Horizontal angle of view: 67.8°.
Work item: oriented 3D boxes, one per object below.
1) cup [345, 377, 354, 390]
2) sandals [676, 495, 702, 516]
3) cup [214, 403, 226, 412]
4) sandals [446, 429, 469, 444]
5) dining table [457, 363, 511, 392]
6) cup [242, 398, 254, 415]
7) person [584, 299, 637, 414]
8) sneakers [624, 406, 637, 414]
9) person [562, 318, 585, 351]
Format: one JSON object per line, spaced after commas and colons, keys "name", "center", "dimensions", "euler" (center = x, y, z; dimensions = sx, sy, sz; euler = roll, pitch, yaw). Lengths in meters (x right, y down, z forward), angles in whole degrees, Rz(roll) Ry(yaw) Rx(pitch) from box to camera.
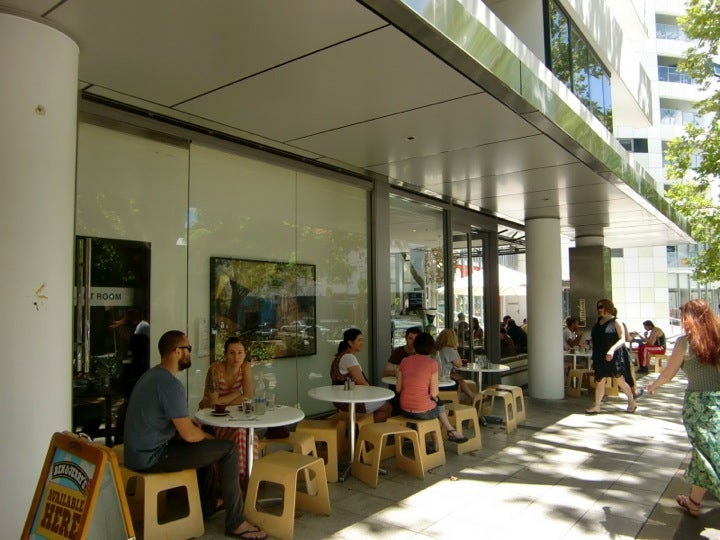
{"name": "cup", "center": [-0.126, 1.372, 6.403], "dimensions": [0.095, 0.122, 0.100], "euler": [-1, -6, 0]}
{"name": "sandals", "center": [3.289, 2.368, 5.375], "dimensions": [0.119, 0.111, 0.247], "euler": [0, 6, 6]}
{"name": "cup", "center": [-1.395, 1.382, 5.359], "dimensions": [0.088, 0.066, 0.080], "euler": [-5, -8, 26]}
{"name": "sandals", "center": [1.268, 2.265, 7.263], "dimensions": [0.173, 0.135, 0.311], "euler": [3, -10, -37]}
{"name": "dining table", "center": [1.930, 1.623, 8.641], "dimensions": [0.755, 0.567, 0.802], "euler": [1, -8, -6]}
{"name": "cup", "center": [-1.099, 1.373, 5.364], "dimensions": [0.131, 0.176, 0.140], "euler": [0, -5, 0]}
{"name": "person", "center": [4.282, 1.528, 9.341], "dimensions": [0.699, 1.979, 0.797], "euler": [-4, -3, 23]}
{"name": "sneakers", "center": [4.888, 2.535, 9.699], "dimensions": [0.104, 0.130, 0.311], "euler": [-8, -15, 36]}
{"name": "person", "center": [4.716, 1.437, 11.876], "dimensions": [0.408, 0.675, 1.121], "euler": [-4, -3, 22]}
